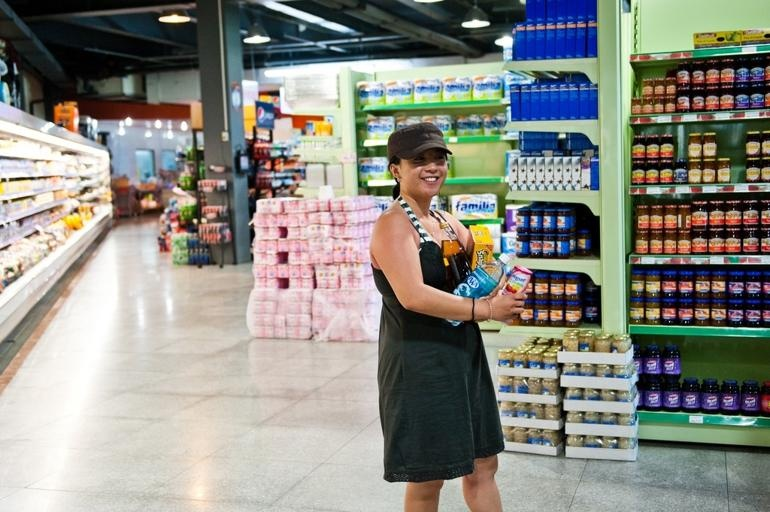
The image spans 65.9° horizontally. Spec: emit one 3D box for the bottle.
[{"bbox_3d":[0.397,0.146,2.565,0.131,0.335,0.129,45,-14,14],"label":"bottle"}]

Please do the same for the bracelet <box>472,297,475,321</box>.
[{"bbox_3d":[0.377,0.226,2.506,0.017,0.083,0.033,2,7,11],"label":"bracelet"}]

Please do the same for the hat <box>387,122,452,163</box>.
[{"bbox_3d":[0.149,-0.488,2.560,0.253,0.174,0.175,0,7,-6],"label":"hat"}]

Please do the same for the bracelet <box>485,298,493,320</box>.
[{"bbox_3d":[0.449,0.229,2.540,0.028,0.088,0.059,2,7,10],"label":"bracelet"}]
